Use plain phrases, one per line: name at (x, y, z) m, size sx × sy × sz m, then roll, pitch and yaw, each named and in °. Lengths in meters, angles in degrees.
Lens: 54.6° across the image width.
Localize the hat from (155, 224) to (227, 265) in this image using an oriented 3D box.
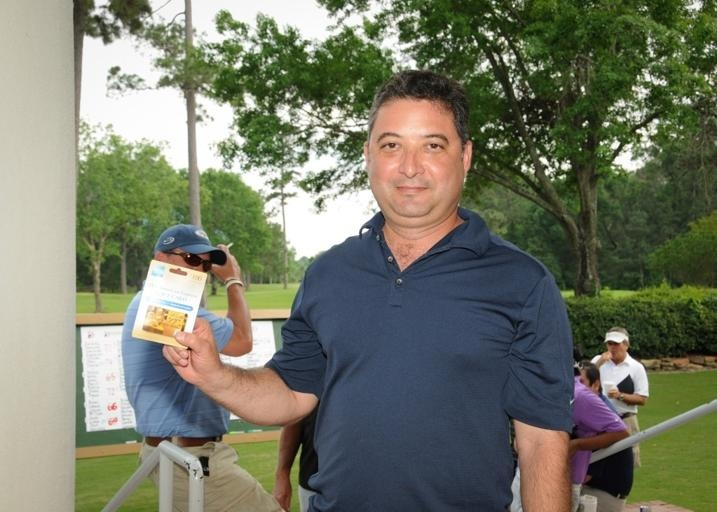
hat at (-1.863, -0.174, 7.635) m, size 0.762 × 0.356 × 0.525 m, roll 0°, pitch -4°, yaw 32°

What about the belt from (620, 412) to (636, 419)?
belt at (3.973, 2.344, 10.245) m, size 0.099 × 0.090 × 0.096 m, roll -2°, pitch -3°, yaw -8°
